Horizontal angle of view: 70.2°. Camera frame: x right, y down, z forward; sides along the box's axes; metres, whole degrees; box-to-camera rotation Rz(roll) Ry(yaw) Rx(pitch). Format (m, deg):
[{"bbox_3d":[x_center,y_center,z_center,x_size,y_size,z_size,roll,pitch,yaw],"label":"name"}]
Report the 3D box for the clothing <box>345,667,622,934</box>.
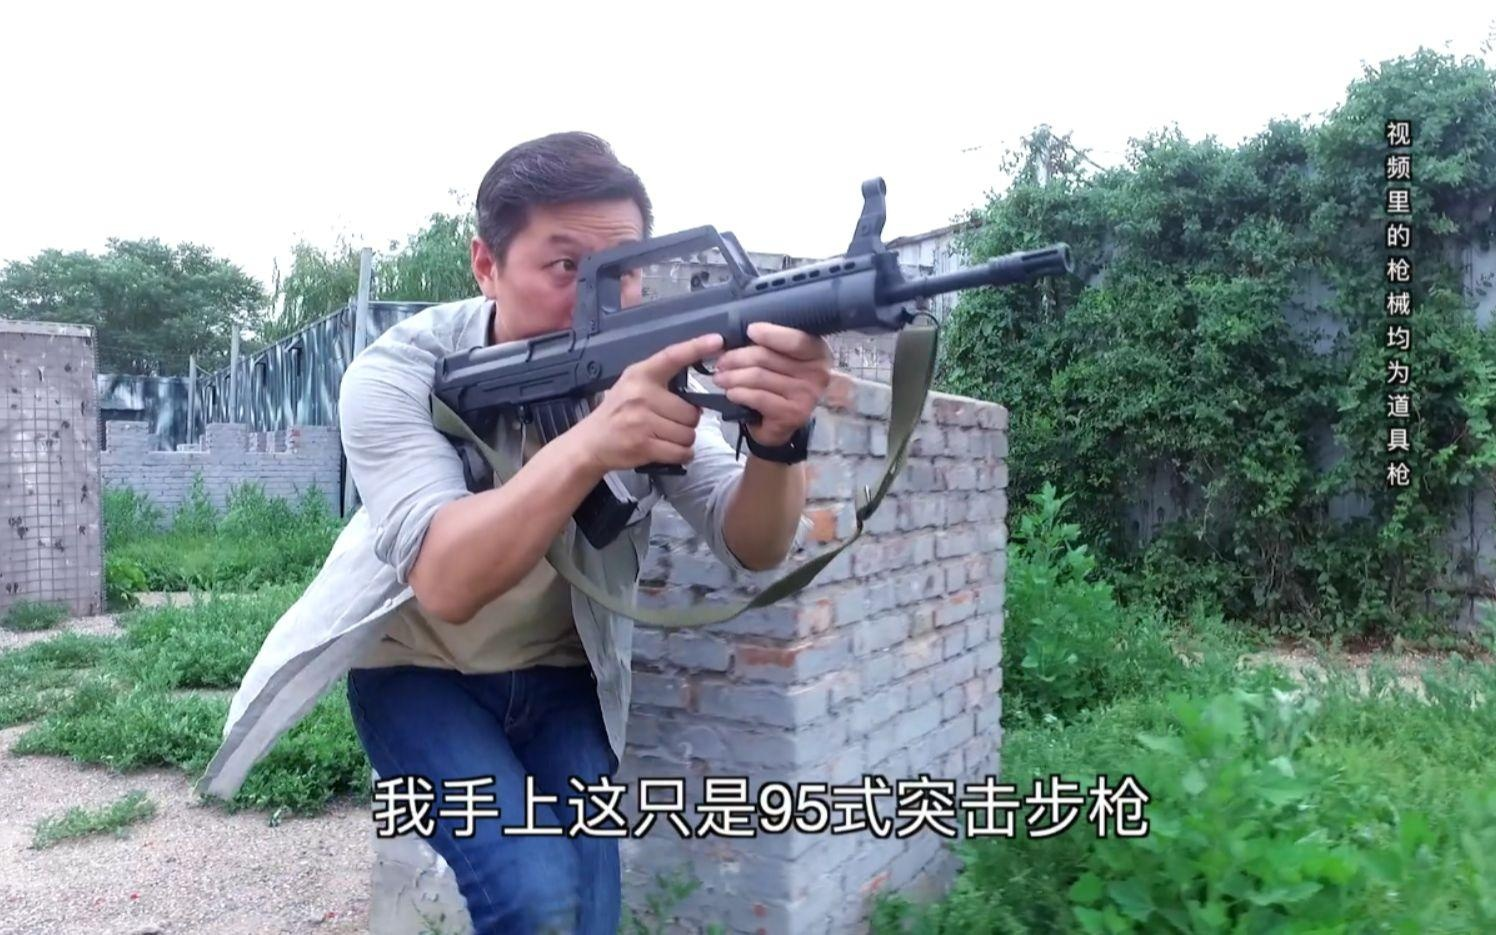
[{"bbox_3d":[-1.037,1.281,4.193,0.380,1.289,0.750,-38,-26,32],"label":"clothing"}]
